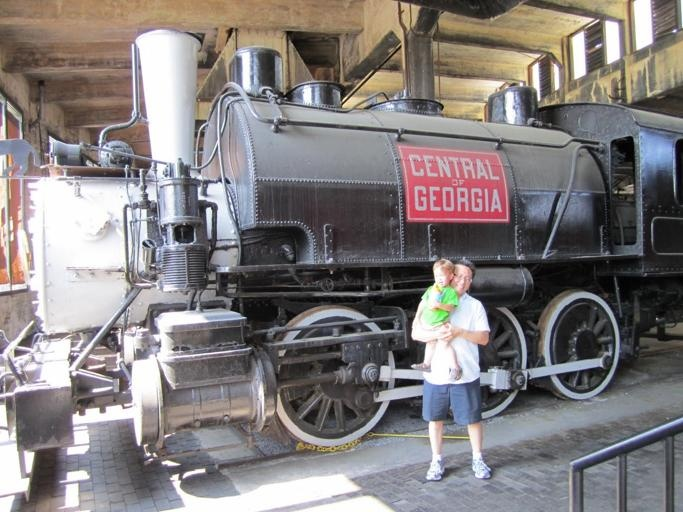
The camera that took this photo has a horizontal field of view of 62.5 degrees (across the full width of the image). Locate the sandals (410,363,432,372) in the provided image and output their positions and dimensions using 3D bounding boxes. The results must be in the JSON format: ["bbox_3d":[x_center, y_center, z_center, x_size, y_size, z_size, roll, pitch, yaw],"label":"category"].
[{"bbox_3d":[0.718,1.034,5.199,0.081,0.097,0.230,4,0,-34],"label":"sandals"}]

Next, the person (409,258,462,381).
[{"bbox_3d":[0.824,0.536,4.959,0.390,1.014,0.290,0,7,6],"label":"person"}]

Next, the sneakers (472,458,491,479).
[{"bbox_3d":[1.221,1.874,4.971,0.112,0.094,0.217,0,-9,-10],"label":"sneakers"}]
